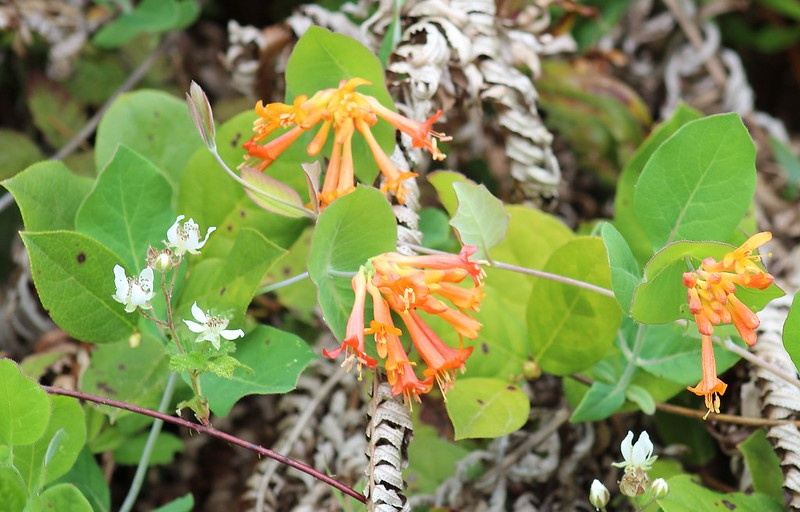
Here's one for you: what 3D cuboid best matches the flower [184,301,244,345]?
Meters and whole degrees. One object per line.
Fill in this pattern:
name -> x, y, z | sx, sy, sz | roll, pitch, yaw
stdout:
flower -> -0.269, 0.099, 1.137 | 0.070, 0.072, 0.027 | 37, 99, 22

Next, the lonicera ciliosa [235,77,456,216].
lonicera ciliosa -> -0.090, -0.185, 1.185 | 0.212, 0.232, 0.112 | -9, 46, 29

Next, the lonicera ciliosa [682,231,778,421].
lonicera ciliosa -> 0.507, 0.108, 1.201 | 0.120, 0.299, 0.132 | -37, 49, -26

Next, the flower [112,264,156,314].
flower -> -0.392, 0.050, 1.149 | 0.046, 0.043, 0.046 | -36, 30, -17

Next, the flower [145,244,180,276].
flower -> -0.352, -0.001, 1.164 | 0.046, 0.053, 0.033 | 23, 59, -29

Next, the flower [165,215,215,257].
flower -> -0.312, -0.031, 1.188 | 0.061, 0.056, 0.090 | 19, 13, 6

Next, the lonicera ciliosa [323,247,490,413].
lonicera ciliosa -> 0.002, 0.066, 1.148 | 0.205, 0.122, 0.232 | -36, 75, -23
